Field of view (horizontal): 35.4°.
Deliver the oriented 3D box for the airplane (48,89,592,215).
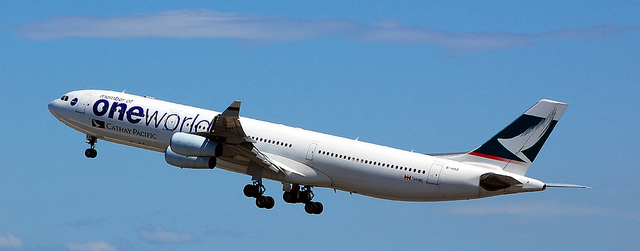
[{"bbox_3d":[-0.370,0.914,93.243,43.024,10.722,6.271,7,-26,7],"label":"airplane"}]
